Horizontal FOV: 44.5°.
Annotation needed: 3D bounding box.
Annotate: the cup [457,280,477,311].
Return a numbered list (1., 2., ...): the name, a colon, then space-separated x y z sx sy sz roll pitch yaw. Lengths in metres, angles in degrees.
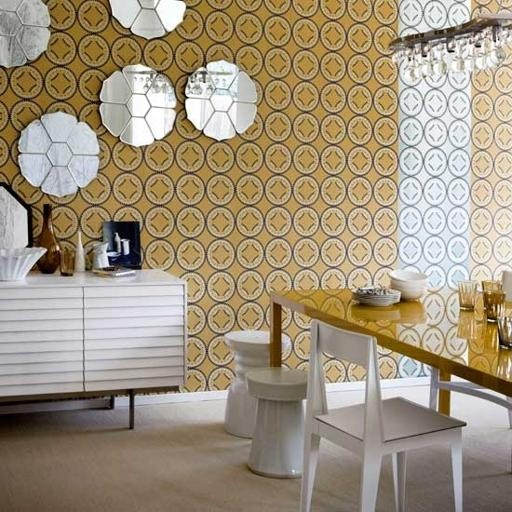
1. cup: 0.935 0.173 2.794 0.100 0.160 0.105 0 3 0

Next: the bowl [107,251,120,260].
1. bowl: -0.882 0.000 3.844 0.025 0.051 0.083 6 8 43

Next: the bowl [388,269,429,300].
1. bowl: 0.745 0.141 3.107 0.133 0.134 0.173 0 0 -2
